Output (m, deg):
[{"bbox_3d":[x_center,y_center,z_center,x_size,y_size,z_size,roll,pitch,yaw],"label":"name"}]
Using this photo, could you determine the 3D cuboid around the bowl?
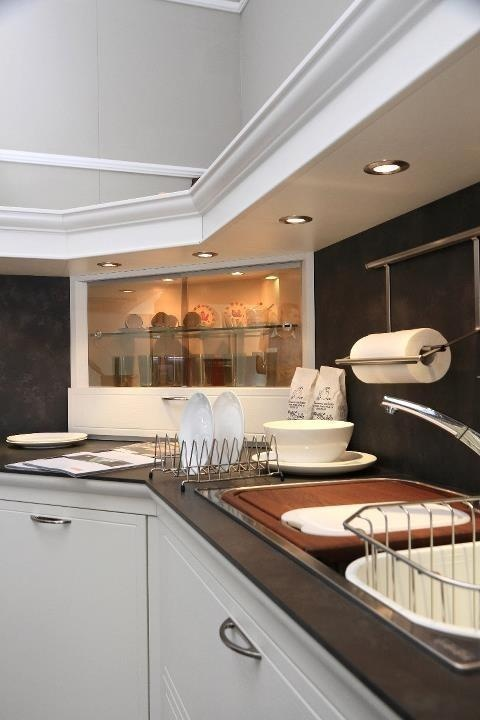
[{"bbox_3d":[0.184,0.206,1.366,0.141,0.063,0.143,0,-9,0],"label":"bowl"}]

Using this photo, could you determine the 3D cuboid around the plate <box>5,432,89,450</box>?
[{"bbox_3d":[-0.794,0.318,2.150,0.331,0.046,0.258,-1,0,8],"label":"plate"}]

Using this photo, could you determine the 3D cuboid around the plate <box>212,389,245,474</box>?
[{"bbox_3d":[-0.034,0.194,1.481,0.087,0.197,0.214,-1,0,-3],"label":"plate"}]

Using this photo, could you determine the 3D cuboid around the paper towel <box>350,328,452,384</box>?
[{"bbox_3d":[0.343,0.015,1.149,0.121,0.130,0.184,-6,-2,-30],"label":"paper towel"}]
